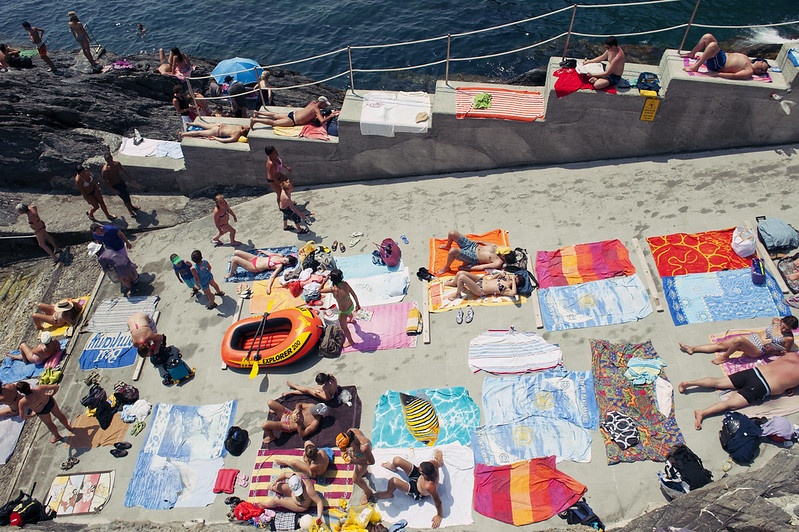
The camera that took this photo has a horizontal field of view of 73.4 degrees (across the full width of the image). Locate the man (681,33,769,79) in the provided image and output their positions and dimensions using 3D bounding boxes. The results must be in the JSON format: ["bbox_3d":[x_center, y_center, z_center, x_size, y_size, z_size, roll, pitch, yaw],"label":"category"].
[{"bbox_3d":[10.461,-6.494,17.090,2.494,0.901,1.405,15,40,11],"label":"man"}]

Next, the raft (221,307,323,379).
[{"bbox_3d":[-3.931,2.139,16.304,3.274,0.948,2.621,-10,43,9],"label":"raft"}]

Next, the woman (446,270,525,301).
[{"bbox_3d":[2.658,0.504,16.024,2.061,0.788,0.723,1,53,3],"label":"woman"}]

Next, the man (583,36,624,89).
[{"bbox_3d":[6.692,-6.615,17.452,1.280,1.584,1.548,-9,48,8],"label":"man"}]

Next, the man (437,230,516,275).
[{"bbox_3d":[2.433,-0.507,16.831,2.488,0.777,1.347,19,11,21],"label":"man"}]

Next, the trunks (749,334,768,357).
[{"bbox_3d":[9.296,1.999,13.798,0.346,0.175,0.508,-30,76,-8],"label":"trunks"}]

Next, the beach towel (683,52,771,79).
[{"bbox_3d":[10.479,-6.210,17.015,1.873,0.465,1.205,3,48,13],"label":"beach towel"}]

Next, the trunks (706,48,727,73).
[{"bbox_3d":[10.081,-6.408,16.916,0.557,0.600,0.284,4,54,5],"label":"trunks"}]

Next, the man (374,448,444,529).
[{"bbox_3d":[0.467,5.398,13.383,1.811,1.448,2.201,15,64,-9],"label":"man"}]

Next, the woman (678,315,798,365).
[{"bbox_3d":[8.897,2.038,14.442,2.858,1.301,1.020,-9,50,26],"label":"woman"}]
